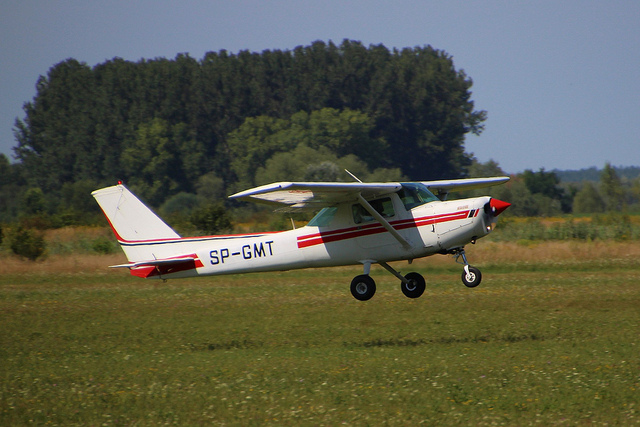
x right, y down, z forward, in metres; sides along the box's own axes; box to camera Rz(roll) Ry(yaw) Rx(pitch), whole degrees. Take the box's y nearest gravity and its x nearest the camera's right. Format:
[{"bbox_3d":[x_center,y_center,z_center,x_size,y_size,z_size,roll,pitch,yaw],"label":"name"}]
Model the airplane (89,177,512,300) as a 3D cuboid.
[{"bbox_3d":[-0.315,0.593,20.899,7.937,1.641,7.006,-2,2,17],"label":"airplane"}]
